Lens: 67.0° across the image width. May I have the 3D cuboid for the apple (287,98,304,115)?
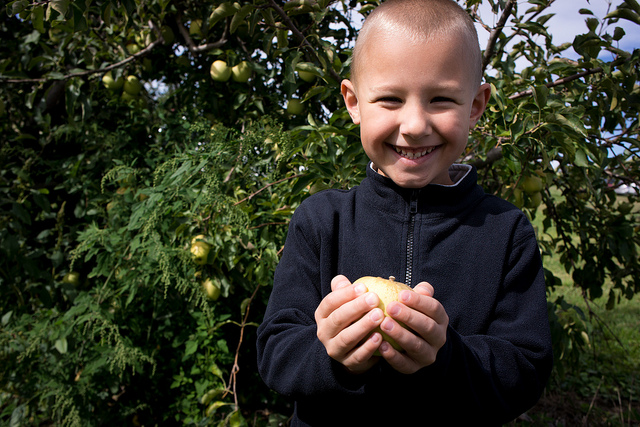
[{"bbox_3d":[-0.160,-0.670,3.086,0.087,0.115,0.094,12,-31,0],"label":"apple"}]

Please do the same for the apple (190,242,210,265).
[{"bbox_3d":[-0.648,0.219,2.616,0.095,0.126,0.100,3,-11,0],"label":"apple"}]

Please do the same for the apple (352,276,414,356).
[{"bbox_3d":[0.223,0.341,1.715,0.231,0.309,0.248,3,-7,0],"label":"apple"}]

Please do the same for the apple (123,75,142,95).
[{"bbox_3d":[-1.233,-0.839,3.170,0.091,0.125,0.098,-3,5,4],"label":"apple"}]

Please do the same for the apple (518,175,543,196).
[{"bbox_3d":[1.297,-0.178,2.979,0.089,0.100,0.115,-1,16,-9],"label":"apple"}]

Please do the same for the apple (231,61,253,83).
[{"bbox_3d":[-0.470,-0.852,3.016,0.110,0.152,0.122,-9,-6,34],"label":"apple"}]

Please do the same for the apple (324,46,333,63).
[{"bbox_3d":[0.049,-0.874,2.659,0.021,0.100,0.020,-2,-30,-8],"label":"apple"}]

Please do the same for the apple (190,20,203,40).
[{"bbox_3d":[-0.780,-1.161,3.035,0.101,0.114,0.131,4,21,-9],"label":"apple"}]

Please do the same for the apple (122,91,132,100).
[{"bbox_3d":[-1.300,-0.796,3.246,0.047,0.050,0.051,4,12,23],"label":"apple"}]

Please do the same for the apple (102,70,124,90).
[{"bbox_3d":[-1.336,-0.837,3.104,0.109,0.134,0.109,-29,24,-18],"label":"apple"}]

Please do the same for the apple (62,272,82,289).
[{"bbox_3d":[-1.445,0.400,2.846,0.112,0.104,0.137,-5,-14,33],"label":"apple"}]

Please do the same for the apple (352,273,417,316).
[{"bbox_3d":[0.245,0.262,1.714,0.165,0.132,0.177,4,10,2],"label":"apple"}]

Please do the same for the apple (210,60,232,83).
[{"bbox_3d":[-0.623,-0.888,3.032,0.137,0.127,0.141,5,-12,-12],"label":"apple"}]
